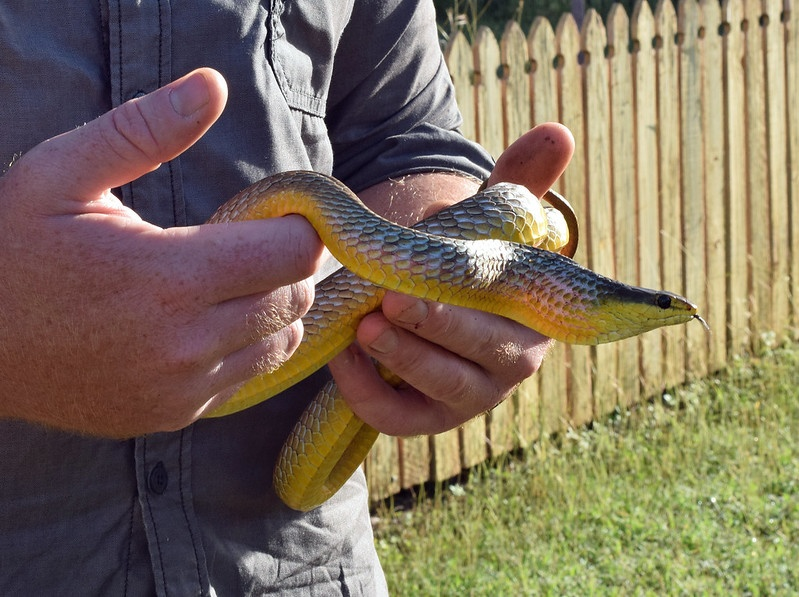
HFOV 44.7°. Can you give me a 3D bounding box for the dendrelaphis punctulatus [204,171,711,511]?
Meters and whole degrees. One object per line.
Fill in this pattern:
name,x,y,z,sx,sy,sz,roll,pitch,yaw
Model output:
dendrelaphis punctulatus,-0.032,0.211,4.567,2.139,1.864,1.438,6,97,-32
